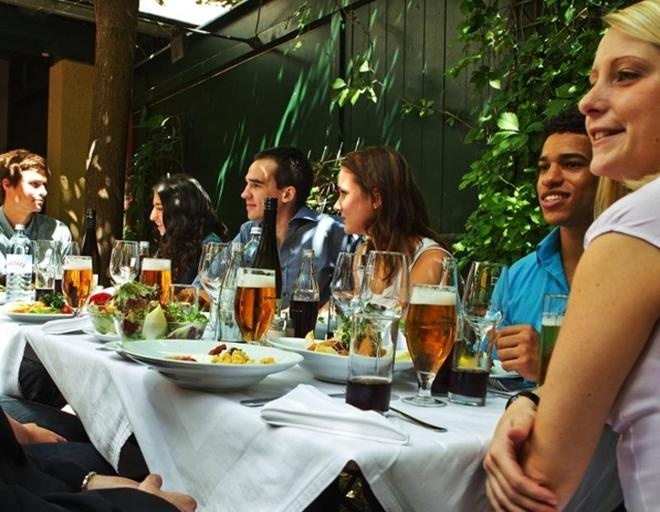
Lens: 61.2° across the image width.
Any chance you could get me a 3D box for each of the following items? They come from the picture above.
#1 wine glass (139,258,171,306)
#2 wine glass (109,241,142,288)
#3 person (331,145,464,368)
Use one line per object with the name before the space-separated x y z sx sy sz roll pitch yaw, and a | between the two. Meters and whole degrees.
wine glass | -0.531 0.081 1.694 0.092 0.173 0.096 1 -7 -6
wine glass | -0.787 0.030 2.134 0.104 0.161 0.229 3 0 -21
person | 0.293 -0.108 2.823 0.597 1.369 0.586 -1 -1 -2
